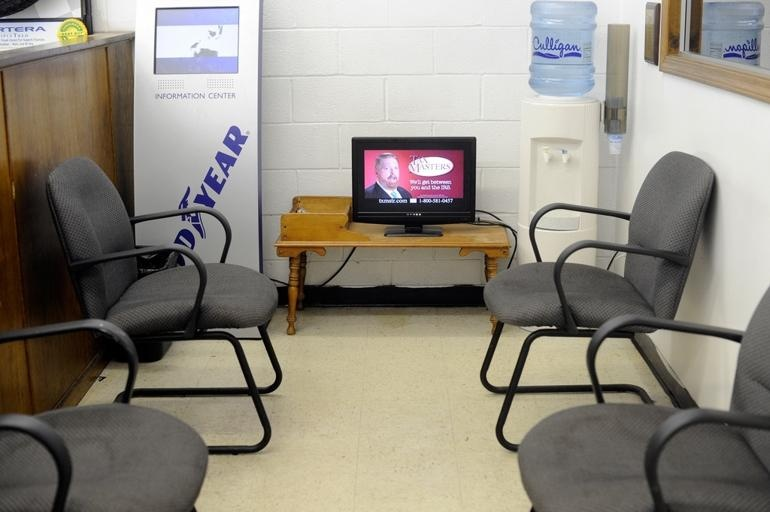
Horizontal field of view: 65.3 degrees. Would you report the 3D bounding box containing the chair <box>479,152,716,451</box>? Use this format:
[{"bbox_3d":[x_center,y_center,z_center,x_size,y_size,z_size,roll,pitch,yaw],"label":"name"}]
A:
[{"bbox_3d":[0.991,0.036,3.033,1.258,1.497,1.067,-1,11,0],"label":"chair"}]

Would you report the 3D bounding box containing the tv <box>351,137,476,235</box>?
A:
[{"bbox_3d":[0.162,-0.420,3.388,0.616,0.423,0.134,0,4,2],"label":"tv"}]

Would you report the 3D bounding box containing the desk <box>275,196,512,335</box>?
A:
[{"bbox_3d":[0.139,0.178,3.687,1.526,0.804,0.553,8,-6,-10],"label":"desk"}]

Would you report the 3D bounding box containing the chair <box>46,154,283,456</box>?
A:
[{"bbox_3d":[-0.882,0.167,2.609,0.964,1.009,0.823,-1,17,-26],"label":"chair"}]
